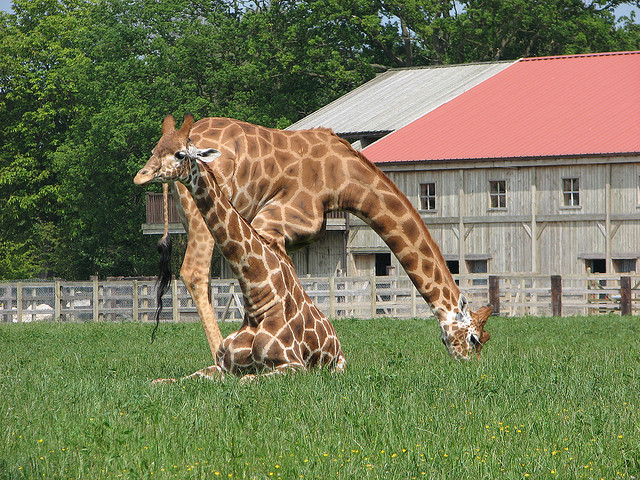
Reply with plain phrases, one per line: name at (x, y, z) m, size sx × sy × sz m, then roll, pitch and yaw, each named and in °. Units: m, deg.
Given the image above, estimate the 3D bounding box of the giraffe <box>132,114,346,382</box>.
giraffe at (-1.850, 0.596, 31.120) m, size 6.022 × 6.399 × 2.615 m, roll 3°, pitch -6°, yaw -42°
